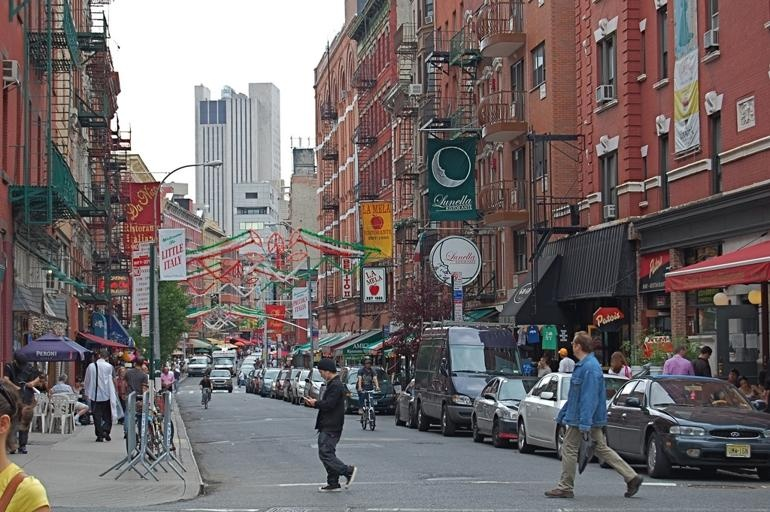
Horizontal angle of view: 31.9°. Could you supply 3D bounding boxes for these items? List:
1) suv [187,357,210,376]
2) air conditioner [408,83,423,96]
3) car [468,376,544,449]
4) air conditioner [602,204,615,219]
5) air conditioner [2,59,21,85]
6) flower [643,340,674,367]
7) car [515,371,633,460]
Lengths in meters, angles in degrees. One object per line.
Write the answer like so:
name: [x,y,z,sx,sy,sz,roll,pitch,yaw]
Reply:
suv: [-17.979,10.565,132.222,1.974,2.110,4.002,-1,-7,1]
air conditioner: [1.696,-8.972,71.842,0.659,0.683,0.671,0,-6,-2]
car: [3.258,4.377,38.050,1.625,1.575,3.921,0,-4,-4]
air conditioner: [7.800,-1.553,46.478,0.424,0.449,0.431,1,-4,-33]
air conditioner: [-12.095,-5.957,43.882,0.553,0.798,1.082,-1,-4,-6]
flower: [8.267,2.941,40.447,0.679,0.736,0.190,-7,-18,42]
car: [4.128,4.152,35.019,2.042,2.129,4.350,0,-5,-7]
